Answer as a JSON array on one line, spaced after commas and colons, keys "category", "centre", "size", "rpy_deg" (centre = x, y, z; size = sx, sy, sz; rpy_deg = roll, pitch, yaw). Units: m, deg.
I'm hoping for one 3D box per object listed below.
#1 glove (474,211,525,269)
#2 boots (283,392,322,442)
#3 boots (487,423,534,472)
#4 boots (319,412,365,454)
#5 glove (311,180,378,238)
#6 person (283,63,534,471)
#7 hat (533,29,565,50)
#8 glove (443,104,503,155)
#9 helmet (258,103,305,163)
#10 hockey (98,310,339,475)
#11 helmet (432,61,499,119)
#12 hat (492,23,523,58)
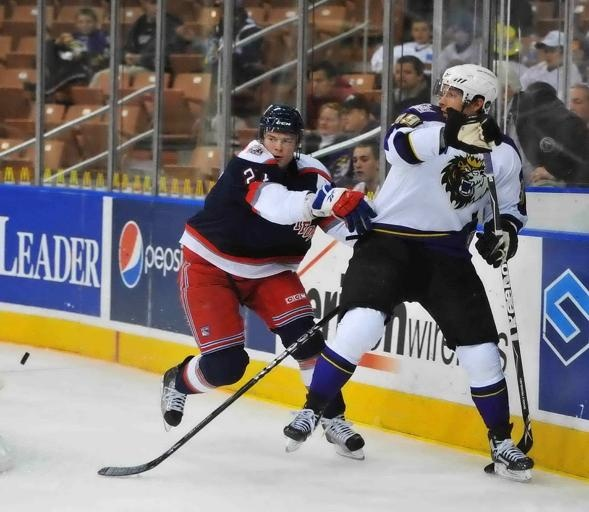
[{"category": "glove", "centre": [0.817, -0.062, 3.634], "size": [0.205, 0.149, 0.100], "rpy_deg": [-40, 0, -8]}, {"category": "boots", "centre": [0.054, 0.652, 3.621], "size": [0.075, 0.111, 0.235], "rpy_deg": [5, 10, 38]}, {"category": "boots", "centre": [0.840, 0.799, 3.634], "size": [0.080, 0.110, 0.246], "rpy_deg": [-7, -8, -23]}, {"category": "boots", "centre": [0.207, 0.764, 3.907], "size": [0.110, 0.091, 0.225], "rpy_deg": [-35, 8, -11]}, {"category": "glove", "centre": [0.191, -0.181, 3.574], "size": [0.223, 0.164, 0.100], "rpy_deg": [37, -7, -23]}, {"category": "person", "centre": [0.521, 0.076, 3.635], "size": [0.916, 1.652, 0.561], "rpy_deg": [1, 8, 6]}, {"category": "hat", "centre": [1.418, -1.207, 5.054], "size": [0.135, 0.079, 0.090], "rpy_deg": [-11, 16, -6]}, {"category": "glove", "centre": [0.636, -0.454, 3.222], "size": [0.161, 0.179, 0.073], "rpy_deg": [3, -5, 6]}, {"category": "helmet", "centre": [-0.089, -0.481, 3.673], "size": [0.164, 0.236, 0.228], "rpy_deg": [4, 26, -10]}, {"category": "hockey", "centre": [-0.312, 0.642, 4.160], "size": [0.914, 0.157, 0.046], "rpy_deg": [-40, -30, 5]}, {"category": "helmet", "centre": [0.681, -0.643, 3.561], "size": [0.195, 0.206, 0.158], "rpy_deg": [10, 15, 13]}, {"category": "hat", "centre": [1.142, -1.164, 4.913], "size": [0.088, 0.206, 0.248], "rpy_deg": [6, 10, 33]}]
